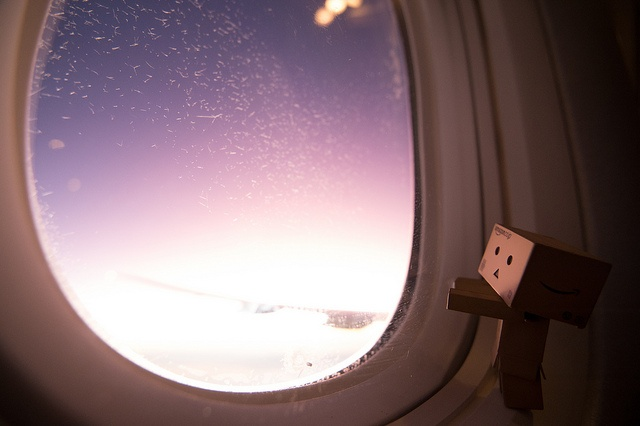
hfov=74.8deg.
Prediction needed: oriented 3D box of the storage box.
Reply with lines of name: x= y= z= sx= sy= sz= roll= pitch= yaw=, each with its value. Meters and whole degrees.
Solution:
storage box: x=0.989 y=0.252 z=1.906 sx=0.416 sy=0.437 sz=0.288 roll=11 pitch=-77 yaw=-15
